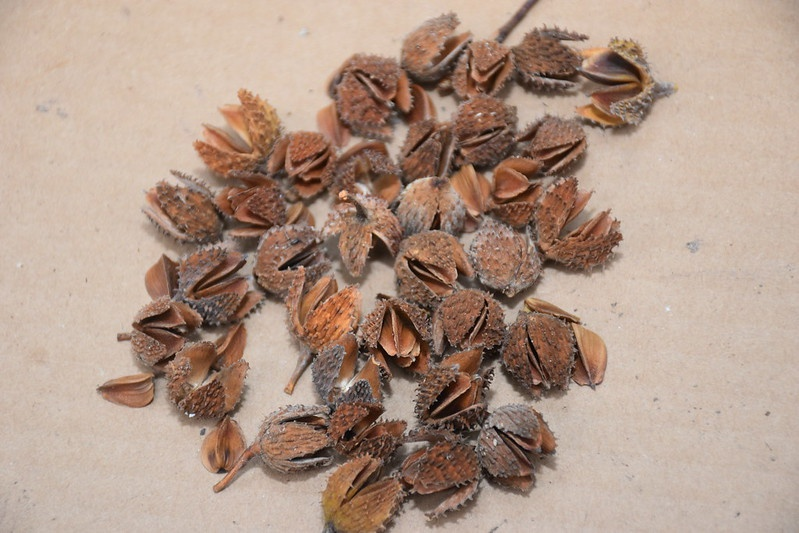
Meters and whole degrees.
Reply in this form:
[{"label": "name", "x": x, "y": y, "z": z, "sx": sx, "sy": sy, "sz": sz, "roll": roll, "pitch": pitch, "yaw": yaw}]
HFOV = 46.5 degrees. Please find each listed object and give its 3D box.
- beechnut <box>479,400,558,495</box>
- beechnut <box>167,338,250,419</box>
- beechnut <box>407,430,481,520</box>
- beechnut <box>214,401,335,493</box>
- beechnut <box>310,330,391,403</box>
[{"label": "beechnut", "x": 0.453, "y": 0.708, "z": 3.702, "sx": 0.314, "sy": 0.180, "sz": 0.326, "roll": -41, "pitch": 86, "yaw": 2}, {"label": "beechnut", "x": -0.829, "y": 0.475, "z": 3.920, "sx": 0.307, "sy": 0.125, "sz": 0.327, "roll": -23, "pitch": 69, "yaw": -32}, {"label": "beechnut", "x": 0.167, "y": 0.853, "z": 3.797, "sx": 0.338, "sy": 0.160, "sz": 0.359, "roll": 12, "pitch": 81, "yaw": 2}, {"label": "beechnut", "x": -0.511, "y": 0.719, "z": 3.796, "sx": 0.396, "sy": 0.207, "sz": 0.260, "roll": -25, "pitch": 55, "yaw": 7}, {"label": "beechnut", "x": -0.191, "y": 0.454, "z": 3.858, "sx": 0.327, "sy": 0.113, "sz": 0.277, "roll": 51, "pitch": 37, "yaw": -21}]
